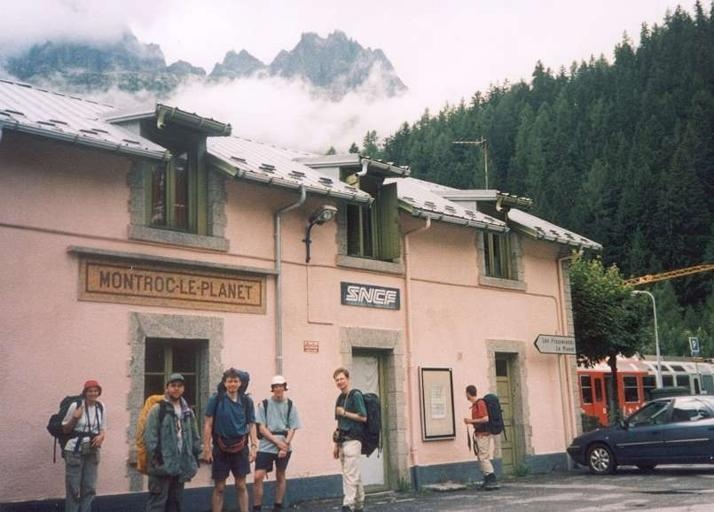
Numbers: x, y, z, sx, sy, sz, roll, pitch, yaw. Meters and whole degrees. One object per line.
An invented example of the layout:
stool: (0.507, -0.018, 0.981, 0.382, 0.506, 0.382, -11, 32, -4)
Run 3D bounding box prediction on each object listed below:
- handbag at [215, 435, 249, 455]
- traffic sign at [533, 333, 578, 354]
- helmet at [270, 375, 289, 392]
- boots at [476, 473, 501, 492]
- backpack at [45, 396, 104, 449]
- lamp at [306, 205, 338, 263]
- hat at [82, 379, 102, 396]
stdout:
handbag: (-2.099, 3.136, 13.748, 0.316, 0.150, 0.328, 7, 4, 10)
traffic sign: (5.083, 2.318, 21.812, 1.599, 0.538, 0.358, 6, -15, -39)
helmet: (-1.406, 2.267, 14.737, 0.232, 0.292, 0.439, -3, -12, 0)
boots: (2.801, 4.856, 17.825, 0.230, 0.405, 0.544, 5, -6, -38)
backpack: (-4.628, 2.742, 13.614, 0.879, 0.869, 0.315, 0, -12, -16)
lamp: (-0.799, -0.467, 17.344, 0.333, 1.103, 0.777, 7, -16, -41)
hat: (-4.411, 2.163, 13.774, 0.302, 0.251, 0.318, 3, -12, -23)
